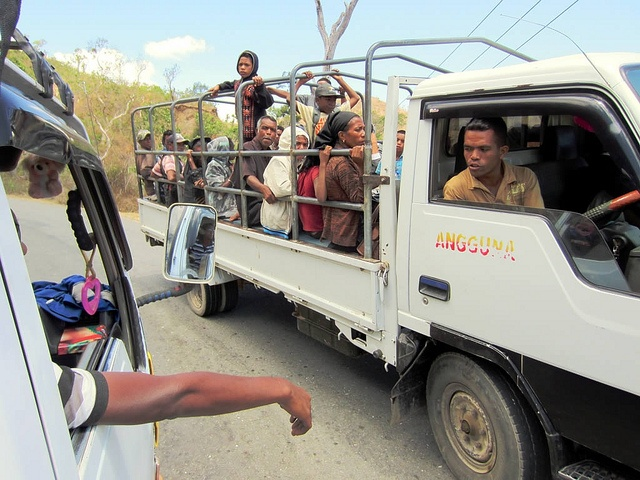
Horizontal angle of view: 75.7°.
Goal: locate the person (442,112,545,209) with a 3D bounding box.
[{"bbox_3d":[1.138,-0.390,2.736,0.670,0.770,0.407,-1,8,27],"label":"person"}]
